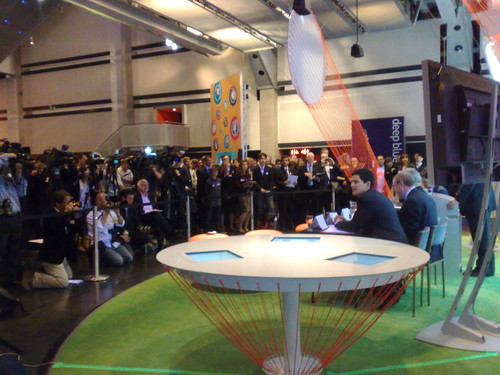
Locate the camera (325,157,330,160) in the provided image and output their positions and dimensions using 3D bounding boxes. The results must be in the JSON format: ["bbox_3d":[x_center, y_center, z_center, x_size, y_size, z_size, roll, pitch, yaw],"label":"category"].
[{"bbox_3d":[1.549,-0.579,9.690,0.093,0.060,0.068,-2,5,-5],"label":"camera"}]

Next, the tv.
[{"bbox_3d":[1.887,-0.577,4.320,0.749,1.096,0.268,-4,8,-20],"label":"tv"}]

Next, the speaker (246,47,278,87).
[{"bbox_3d":[0.324,-3.686,14.673,0.659,1.343,0.676,-15,12,22],"label":"speaker"}]
